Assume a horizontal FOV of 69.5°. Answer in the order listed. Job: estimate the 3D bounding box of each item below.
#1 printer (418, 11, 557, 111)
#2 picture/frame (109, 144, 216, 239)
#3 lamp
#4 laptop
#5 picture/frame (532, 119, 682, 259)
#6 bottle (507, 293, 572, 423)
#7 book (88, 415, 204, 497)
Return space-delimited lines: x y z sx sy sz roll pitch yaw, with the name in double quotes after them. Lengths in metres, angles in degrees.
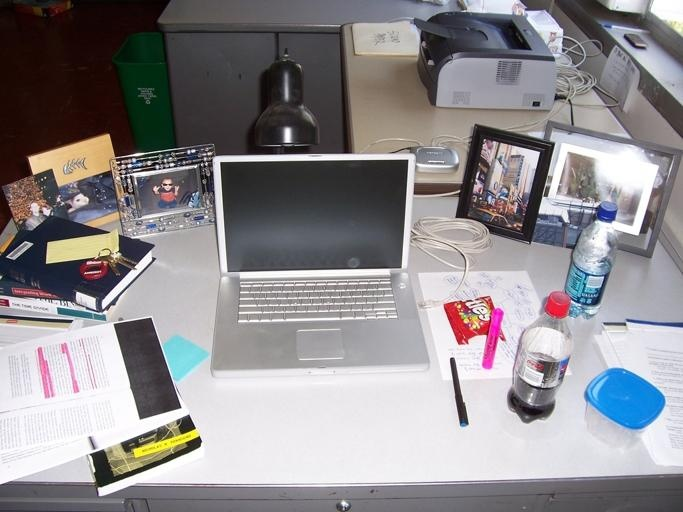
0.553 -0.733 1.884 0.447 0.205 0.448 3 44 0 "printer"
-0.492 -0.171 1.353 0.259 0.222 0.020 -13 33 -12 "picture/frame"
-0.136 -0.347 1.165 0.143 0.217 0.260 -5 30 -4 "lamp"
-0.057 0.106 1.302 0.596 0.404 0.476 -2 46 -3 "laptop"
0.720 -0.167 1.348 0.364 0.363 0.024 17 13 7 "picture/frame"
0.427 0.230 1.062 0.098 0.281 0.105 0 41 0 "bottle"
-0.379 0.388 0.960 0.203 0.060 0.077 -14 32 -19 "book"
